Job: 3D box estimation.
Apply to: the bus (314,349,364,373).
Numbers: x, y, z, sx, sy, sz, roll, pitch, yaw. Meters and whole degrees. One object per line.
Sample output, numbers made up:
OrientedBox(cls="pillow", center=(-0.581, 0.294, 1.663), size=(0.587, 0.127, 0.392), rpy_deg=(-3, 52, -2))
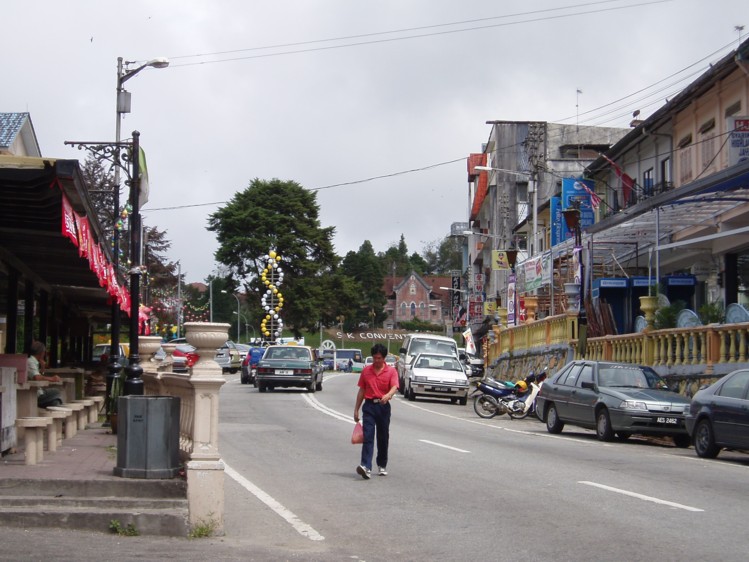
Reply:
OrientedBox(cls="bus", center=(-2.579, 6.361, 84.566), size=(2.358, 2.318, 4.415), rpy_deg=(0, -11, 3))

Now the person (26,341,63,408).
OrientedBox(cls="person", center=(-6.091, 1.750, 18.803), size=(0.586, 1.207, 0.489), rpy_deg=(-6, 9, -25))

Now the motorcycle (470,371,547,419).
OrientedBox(cls="motorcycle", center=(4.143, 3.603, 31.175), size=(2.279, 1.647, 1.253), rpy_deg=(2, -29, 9))
